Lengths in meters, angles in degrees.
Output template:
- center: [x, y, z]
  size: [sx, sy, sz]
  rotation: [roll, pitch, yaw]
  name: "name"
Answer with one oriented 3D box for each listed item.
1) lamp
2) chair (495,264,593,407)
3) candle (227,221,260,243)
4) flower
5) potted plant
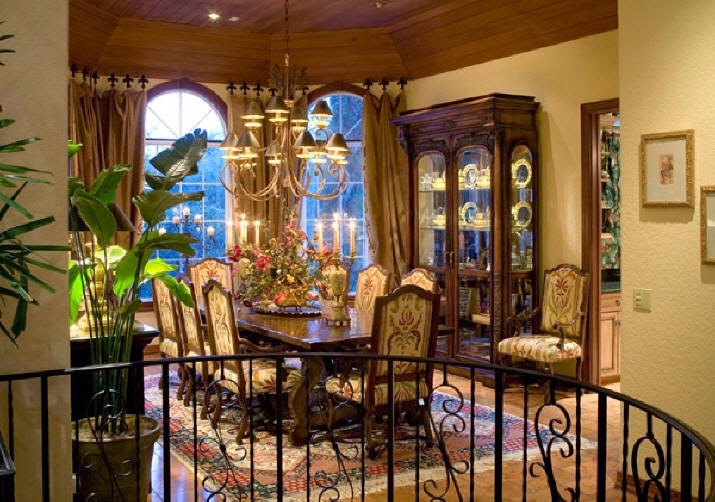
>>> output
- center: [-0.794, -1.663, 6.624]
  size: [1.413, 2.295, 3.360]
  rotation: [-2, 2, -13]
  name: "lamp"
- center: [1.872, 0.788, 6.013]
  size: [0.913, 1.274, 0.936]
  rotation: [-1, 1, 10]
  name: "chair"
- center: [-1.394, -0.236, 7.279]
  size: [0.328, 0.447, 0.328]
  rotation: [1, -2, -6]
  name: "candle"
- center: [-0.754, 0.085, 5.901]
  size: [0.908, 0.960, 0.963]
  rotation: [2, -3, -8]
  name: "flower"
- center: [-1.379, 0.448, 3.721]
  size: [0.777, 2.435, 1.840]
  rotation: [-2, 2, -25]
  name: "potted plant"
